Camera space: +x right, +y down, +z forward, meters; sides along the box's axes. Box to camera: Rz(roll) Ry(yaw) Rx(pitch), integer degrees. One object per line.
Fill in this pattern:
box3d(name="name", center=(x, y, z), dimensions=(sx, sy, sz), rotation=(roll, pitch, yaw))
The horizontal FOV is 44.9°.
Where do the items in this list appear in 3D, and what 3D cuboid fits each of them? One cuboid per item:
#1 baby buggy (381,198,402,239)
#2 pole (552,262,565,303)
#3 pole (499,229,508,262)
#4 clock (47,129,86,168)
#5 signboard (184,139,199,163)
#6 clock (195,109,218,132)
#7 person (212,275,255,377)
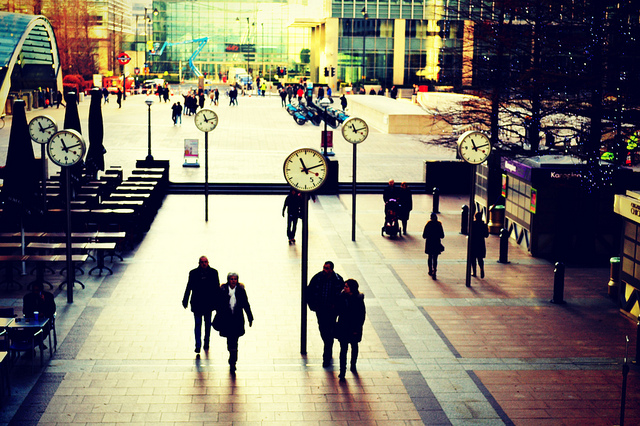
box3d(name="baby buggy", center=(2.497, 0.238, 27.066), dimensions=(0.687, 1.302, 0.538), rotation=(2, 13, 5))
box3d(name="pole", center=(6.661, 1.972, 21.522), dimensions=(0.273, 1.069, 0.438), rotation=(4, 13, 17))
box3d(name="pole", center=(5.860, 1.058, 24.588), dimensions=(0.237, 1.030, 0.370), rotation=(3, 13, 10))
box3d(name="clock", center=(-6.935, -1.691, 21.010), dimensions=(0.945, 1.048, 0.753), rotation=(-2, 14, -10))
box3d(name="signboard", center=(-6.295, -2.911, 37.545), dimensions=(0.650, 1.250, 1.015), rotation=(-2, 14, -11))
box3d(name="clock", center=(-4.386, -3.456, 29.290), dimensions=(0.837, 0.955, 0.902), rotation=(0, 6, 2))
box3d(name="person", center=(-2.070, 2.622, 18.079), dimensions=(0.757, 2.150, 1.137), rotation=(0, 2, -6))
